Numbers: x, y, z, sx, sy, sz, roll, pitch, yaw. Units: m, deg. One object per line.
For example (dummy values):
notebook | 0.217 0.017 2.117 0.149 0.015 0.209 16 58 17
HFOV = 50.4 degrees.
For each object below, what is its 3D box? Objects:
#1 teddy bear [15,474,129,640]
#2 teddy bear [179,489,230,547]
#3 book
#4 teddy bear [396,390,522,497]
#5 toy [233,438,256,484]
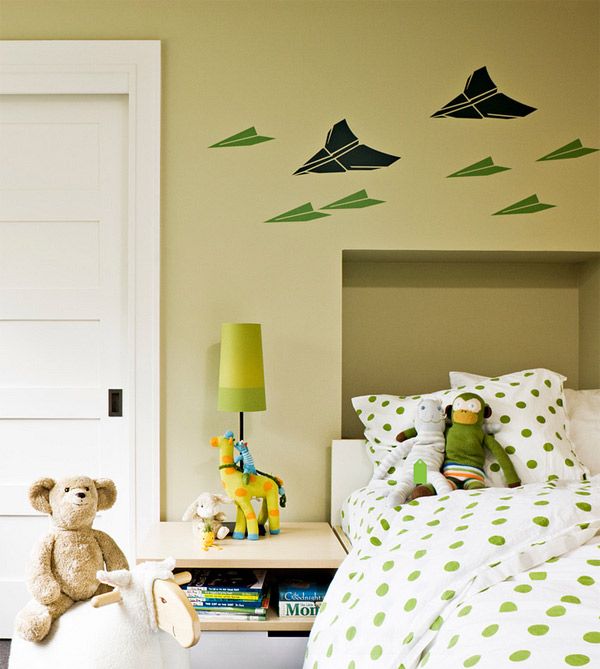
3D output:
teddy bear | -0.562 0.530 1.566 0.271 0.345 0.191 -1 -2 -31
teddy bear | -0.304 0.589 2.043 0.159 0.135 0.069 0 -6 28
book | -0.130 0.786 2.004 0.454 0.099 0.300 -2 -2 1
teddy bear | 0.496 0.339 1.932 0.376 0.301 0.231 2 -1 14
toy | -0.183 0.402 2.101 0.068 0.119 0.160 -2 -2 -5
